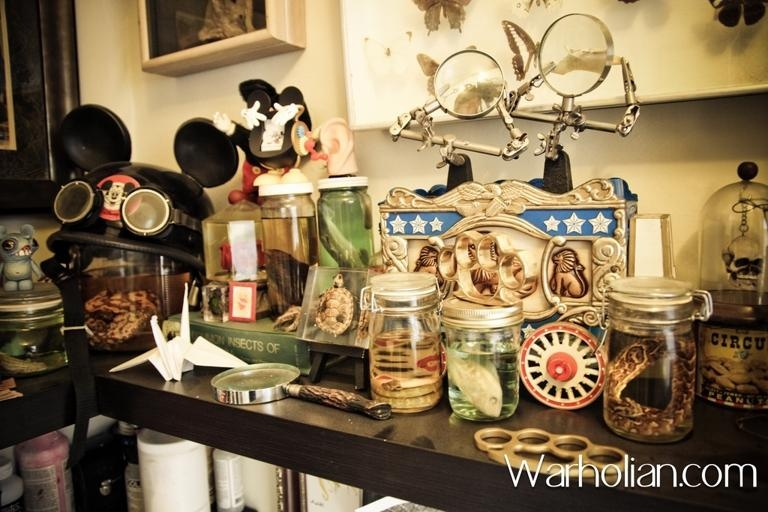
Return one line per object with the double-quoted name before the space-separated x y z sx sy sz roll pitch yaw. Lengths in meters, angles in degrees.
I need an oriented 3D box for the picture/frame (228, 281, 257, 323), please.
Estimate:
"picture/frame" -0.348 0.112 1.494 0.107 0.130 0.011 1 2 22
